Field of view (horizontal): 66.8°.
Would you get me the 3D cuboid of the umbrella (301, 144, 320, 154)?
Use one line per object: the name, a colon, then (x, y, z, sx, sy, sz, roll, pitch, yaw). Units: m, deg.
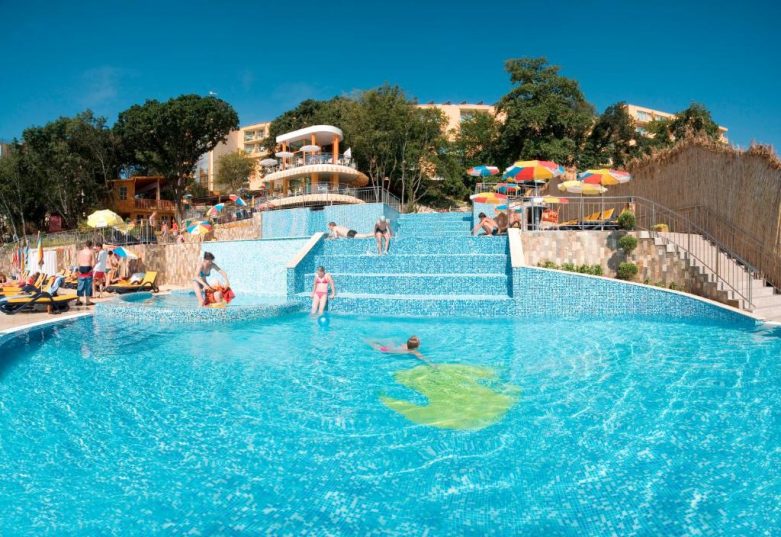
umbrella: (-5.075, -7.474, 37.089, 1.140, 0.517, 1.898, -2, 12, -8)

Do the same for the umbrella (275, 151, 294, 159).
umbrella: (-7.044, -7.599, 39.795, 1.144, 0.468, 1.778, -2, 12, -8)

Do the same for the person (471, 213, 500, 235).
person: (3.237, -1.507, 20.465, 1.173, 0.975, 0.735, 5, 5, 30)

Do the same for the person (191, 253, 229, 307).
person: (-4.612, 0.343, 14.673, 0.622, 1.479, 0.881, 1, 20, -22)

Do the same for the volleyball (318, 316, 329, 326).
volleyball: (-1.464, 1.157, 12.950, 0.219, 0.173, 0.367, -2, 12, -9)

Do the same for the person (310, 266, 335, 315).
person: (-1.682, 0.488, 14.745, 0.590, 1.169, 0.770, -2, 11, -7)

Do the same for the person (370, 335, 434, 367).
person: (0.208, 1.525, 10.740, 0.412, 0.533, 1.404, -6, 13, -24)
